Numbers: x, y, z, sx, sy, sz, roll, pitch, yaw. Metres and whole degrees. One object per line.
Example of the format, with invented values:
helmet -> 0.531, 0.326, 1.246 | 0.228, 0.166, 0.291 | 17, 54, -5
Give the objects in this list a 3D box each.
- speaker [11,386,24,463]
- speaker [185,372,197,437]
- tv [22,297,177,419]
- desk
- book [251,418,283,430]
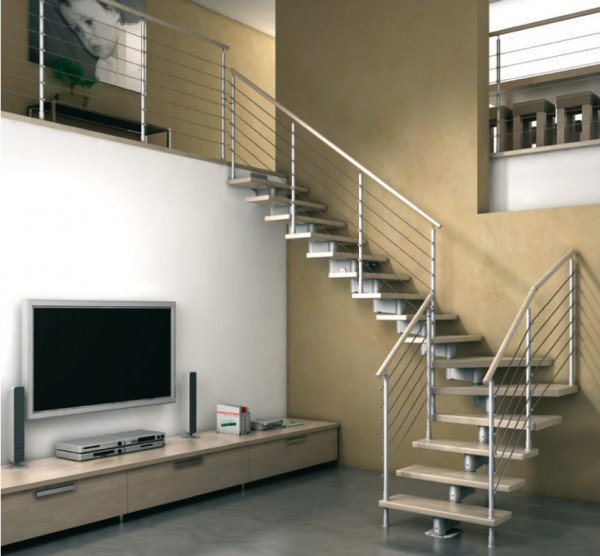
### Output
speaker -> -1.957, 1.024, 4.948 | 0.080, 0.542, 0.109 | 0, 0, -27
speaker -> -0.923, 1.078, 6.160 | 0.112, 0.534, 0.097 | 2, -5, -24
tv -> -1.517, 0.612, 5.547 | 1.182, 0.820, 0.066 | -2, -6, -1
desk -> -1.963, -1.538, 7.075 | 0.867, 0.347, 1.452 | -1, -1, 43
book -> -0.277, 1.325, 6.460 | 0.351, 0.080, 0.193 | 0, -1, -28
